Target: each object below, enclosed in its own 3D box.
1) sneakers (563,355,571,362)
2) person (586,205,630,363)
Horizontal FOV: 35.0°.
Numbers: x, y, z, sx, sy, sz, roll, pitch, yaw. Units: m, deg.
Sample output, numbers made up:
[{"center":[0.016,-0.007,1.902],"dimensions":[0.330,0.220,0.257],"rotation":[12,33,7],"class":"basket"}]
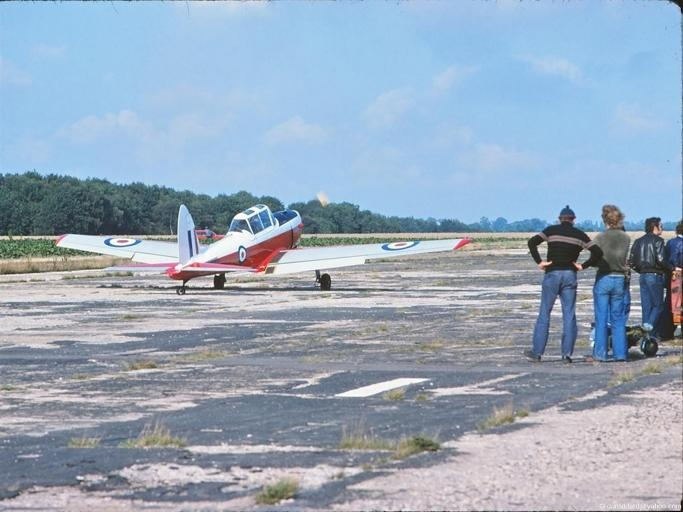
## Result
[{"center":[3.501,1.613,16.891],"dimensions":[0.088,0.094,0.240],"rotation":[2,-6,4],"class":"sneakers"},{"center":[4.215,0.433,16.979],"dimensions":[0.545,2.471,0.781],"rotation":[1,-1,13],"class":"person"}]
